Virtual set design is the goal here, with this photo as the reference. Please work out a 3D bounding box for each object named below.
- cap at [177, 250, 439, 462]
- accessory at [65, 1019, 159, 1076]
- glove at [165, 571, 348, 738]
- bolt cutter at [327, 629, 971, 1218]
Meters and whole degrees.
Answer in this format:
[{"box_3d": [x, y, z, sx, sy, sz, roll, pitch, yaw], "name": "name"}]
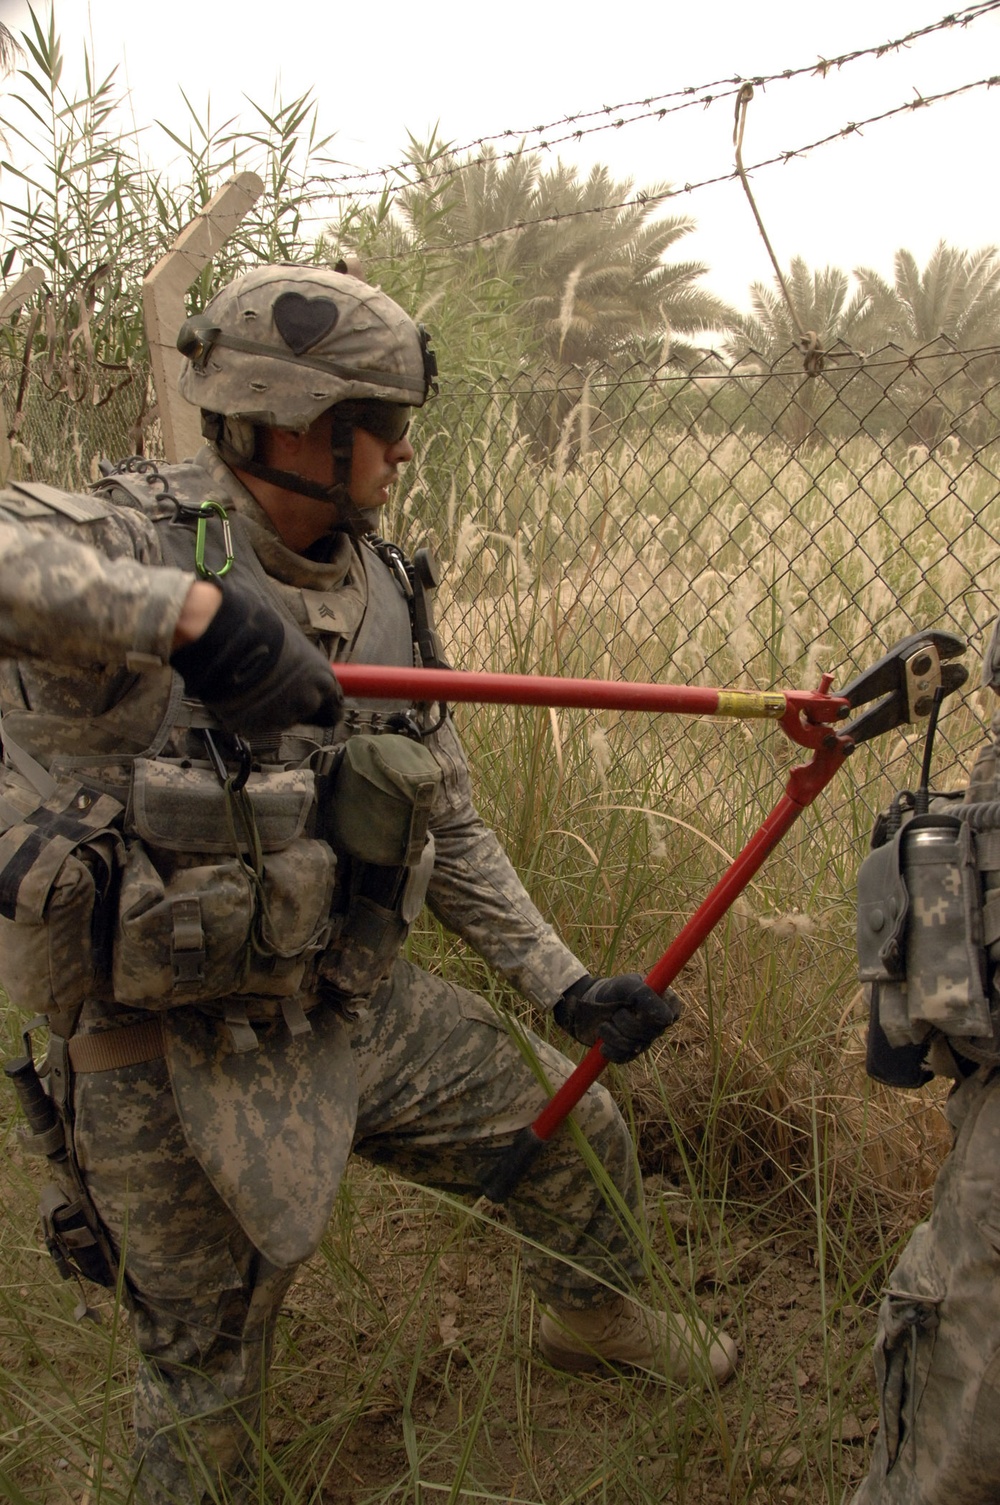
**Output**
[{"box_3d": [-0.279, -0.574, 1.839, 0.364, 0.214, 0.265, -1, 15, -10], "name": "cap"}, {"box_3d": [-0.552, 0.425, 1.809, 0.094, 0.032, 0.090, -5, -8, -6], "name": "accessory"}, {"box_3d": [-0.310, -0.131, 1.481, 0.202, 0.089, 0.152, 38, -5, 40], "name": "glove"}, {"box_3d": [0.318, 0.004, 2.028, 0.580, 0.160, 1.795, 45, 25, 15], "name": "bolt cutter"}]
